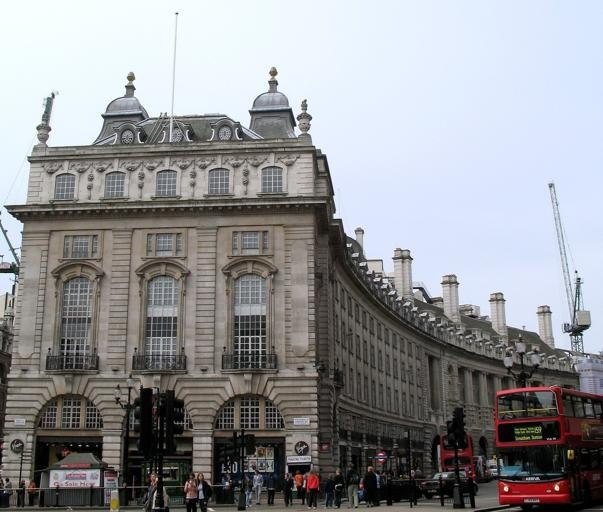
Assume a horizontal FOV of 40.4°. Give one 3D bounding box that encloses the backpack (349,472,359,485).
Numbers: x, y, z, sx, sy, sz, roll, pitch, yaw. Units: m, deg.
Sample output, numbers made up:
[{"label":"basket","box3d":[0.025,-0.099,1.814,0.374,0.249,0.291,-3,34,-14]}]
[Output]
[{"label":"backpack","box3d":[2.866,11.897,44.055,0.443,0.762,1.120,-5,-22,6]}]
